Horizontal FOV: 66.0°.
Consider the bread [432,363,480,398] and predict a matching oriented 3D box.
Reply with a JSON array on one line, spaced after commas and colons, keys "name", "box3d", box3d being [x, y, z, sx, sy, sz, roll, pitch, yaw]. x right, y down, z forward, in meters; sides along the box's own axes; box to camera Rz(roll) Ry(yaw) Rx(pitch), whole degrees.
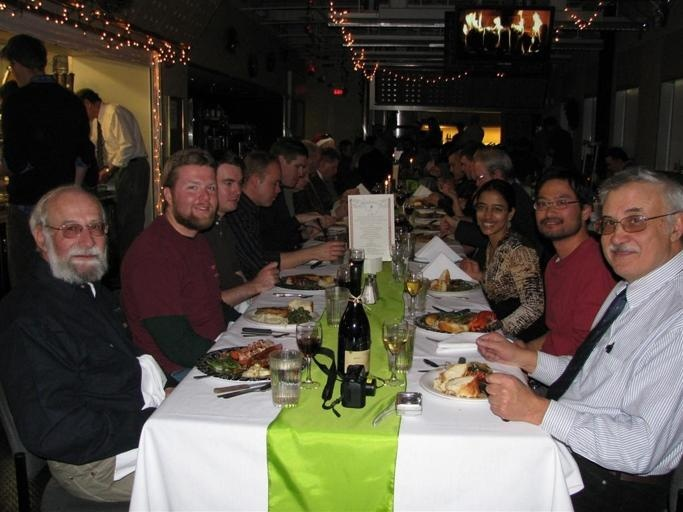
[{"name": "bread", "box3d": [0.370, 0.399, 1.676, 0.098, 0.038, 0.097, -8, 12, -31]}]

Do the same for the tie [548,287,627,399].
[{"name": "tie", "box3d": [0.924, 0.325, 1.966, 0.041, 0.499, 0.069, 28, 14, -12]}]

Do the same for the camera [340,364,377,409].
[{"name": "camera", "box3d": [0.062, 0.405, 1.635, 0.095, 0.097, 0.141, 0, 7, 12]}]

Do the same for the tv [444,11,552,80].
[{"name": "tv", "box3d": [2.106, -2.884, 6.989, 1.370, 0.977, 0.760, 2, 14, 8]}]

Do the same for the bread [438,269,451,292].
[{"name": "bread", "box3d": [0.555, 0.137, 2.839, 0.044, 0.086, 0.154, -5, 10, 29]}]

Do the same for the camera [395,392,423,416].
[{"name": "camera", "box3d": [0.196, 0.435, 1.547, 0.071, 0.051, 0.054, 0, 1, 3]}]

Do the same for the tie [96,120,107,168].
[{"name": "tie", "box3d": [-2.901, -1.372, 6.345, 0.082, 0.211, 0.941, -21, -5, -24]}]

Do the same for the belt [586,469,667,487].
[{"name": "belt", "box3d": [0.928, 0.720, 1.700, 0.243, 0.048, 0.029, 3, 10, 9]}]
